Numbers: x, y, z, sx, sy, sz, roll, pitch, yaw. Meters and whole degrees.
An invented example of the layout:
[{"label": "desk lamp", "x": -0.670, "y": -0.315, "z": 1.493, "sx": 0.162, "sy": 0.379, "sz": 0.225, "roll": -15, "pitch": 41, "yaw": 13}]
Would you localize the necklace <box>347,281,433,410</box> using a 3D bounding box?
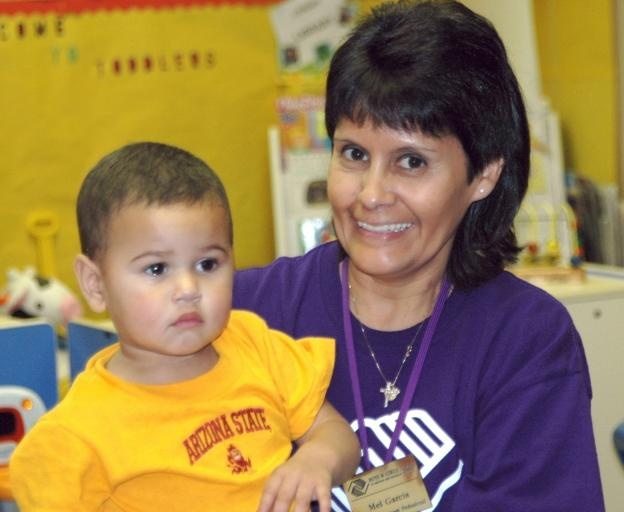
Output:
[{"label": "necklace", "x": 0.172, "y": 0.199, "z": 1.495, "sx": 0.219, "sy": 0.321, "sz": 0.023, "roll": 3, "pitch": -19, "yaw": -2}]
